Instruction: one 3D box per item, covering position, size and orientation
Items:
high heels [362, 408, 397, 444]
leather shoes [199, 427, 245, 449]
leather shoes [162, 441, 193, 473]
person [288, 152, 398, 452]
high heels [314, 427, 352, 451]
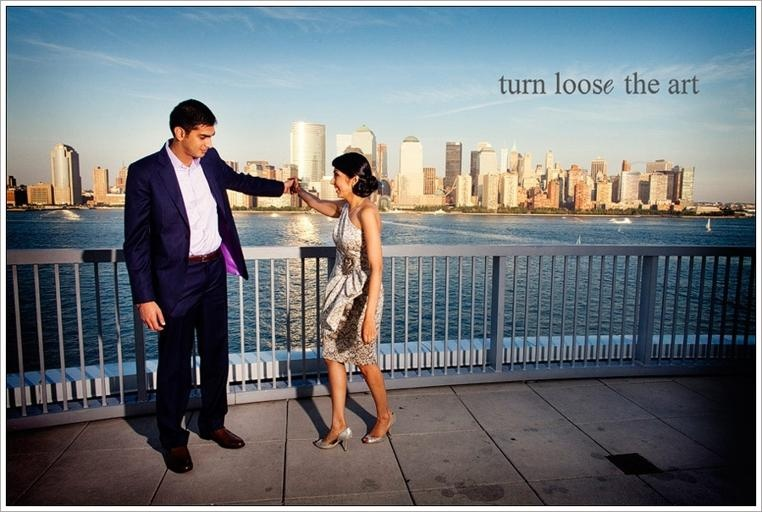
[{"bbox_3d":[0.004,1.387,4.588,0.148,0.186,0.434,-4,4,31],"label":"high heels"},{"bbox_3d":[-1.268,1.460,4.526,0.387,0.156,0.151,11,8,10],"label":"leather shoes"},{"bbox_3d":[-1.589,1.542,4.289,0.121,0.132,0.329,-2,4,-39],"label":"leather shoes"},{"bbox_3d":[-0.245,0.321,4.598,0.614,2.322,0.819,-2,10,1],"label":"person"},{"bbox_3d":[-0.363,1.452,4.429,0.320,0.151,0.143,4,-2,5],"label":"high heels"}]
